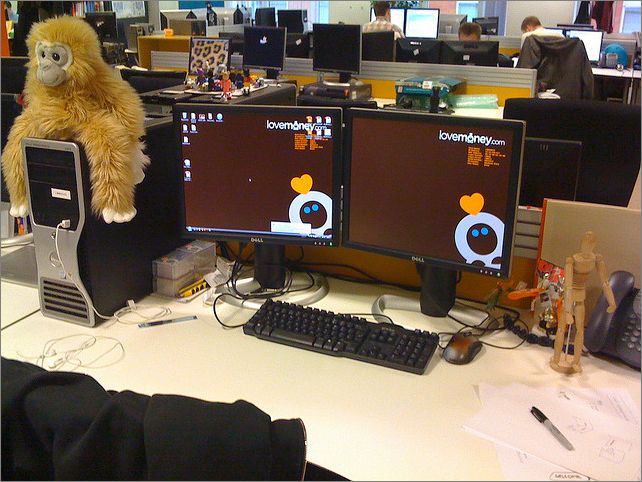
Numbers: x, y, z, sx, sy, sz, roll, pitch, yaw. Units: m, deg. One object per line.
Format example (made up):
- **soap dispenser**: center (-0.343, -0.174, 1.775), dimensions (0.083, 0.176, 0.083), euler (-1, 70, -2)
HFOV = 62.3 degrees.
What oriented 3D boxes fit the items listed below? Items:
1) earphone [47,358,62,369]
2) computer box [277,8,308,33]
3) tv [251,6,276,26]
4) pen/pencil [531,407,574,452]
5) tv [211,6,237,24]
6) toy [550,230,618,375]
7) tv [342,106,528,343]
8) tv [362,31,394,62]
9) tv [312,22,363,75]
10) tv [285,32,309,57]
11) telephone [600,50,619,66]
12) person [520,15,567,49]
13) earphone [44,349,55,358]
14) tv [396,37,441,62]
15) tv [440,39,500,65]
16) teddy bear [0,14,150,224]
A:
- **earphone**: center (-0.669, 0.309, 1.336), dimensions (0.015, 0.006, 0.023), euler (6, 19, 4)
- **computer box**: center (-0.411, -2.893, 6.972), dimensions (0.353, 0.278, 0.389), euler (2, 20, 1)
- **tv**: center (-0.803, -3.234, 7.635), dimensions (0.294, 0.235, 0.449), euler (-1, 20, -6)
- **pen/pencil**: center (0.491, 0.394, 1.120), dimensions (0.022, 0.014, 0.118), euler (-8, 19, -5)
- **tv**: center (-1.353, -3.162, 7.450), dimensions (0.264, 0.243, 0.577), euler (0, 20, -5)
- **toy**: center (0.653, 0.147, 1.301), dimensions (0.170, 0.341, 0.109), euler (-14, 24, -37)
- **tv**: center (0.317, -0.040, 1.451), dimensions (0.507, 0.628, 0.200), euler (11, 24, 25)
- **tv**: center (0.465, -1.572, 4.277), dimensions (0.295, 0.220, 0.122), euler (-1, 19, -7)
- **tv**: center (0.130, -1.466, 4.048), dimensions (0.398, 0.369, 0.043), euler (8, 18, 26)
- **tv**: center (-0.207, -1.826, 4.951), dimensions (0.197, 0.224, 0.214), euler (7, 21, 16)
- **telephone**: center (3.465, -2.173, 6.344), dimensions (0.049, 0.174, 0.162), euler (-5, 13, -45)
- **person**: center (2.186, -2.114, 5.290), dimensions (0.310, 0.323, 1.582), euler (8, 21, 17)
- **earphone**: center (-0.704, 0.292, 1.373), dimensions (0.013, 0.009, 0.019), euler (4, 7, 9)
- **tv**: center (0.881, -1.748, 4.858), dimensions (0.389, 0.201, 0.726), euler (4, 20, 6)
- **tv**: center (1.227, -1.564, 4.399), dimensions (0.470, 0.188, 0.184), euler (9, 21, 21)
- **teddy bear**: center (-0.682, -0.333, 1.445), dimensions (0.387, 0.524, 0.189), euler (6, 19, 15)
